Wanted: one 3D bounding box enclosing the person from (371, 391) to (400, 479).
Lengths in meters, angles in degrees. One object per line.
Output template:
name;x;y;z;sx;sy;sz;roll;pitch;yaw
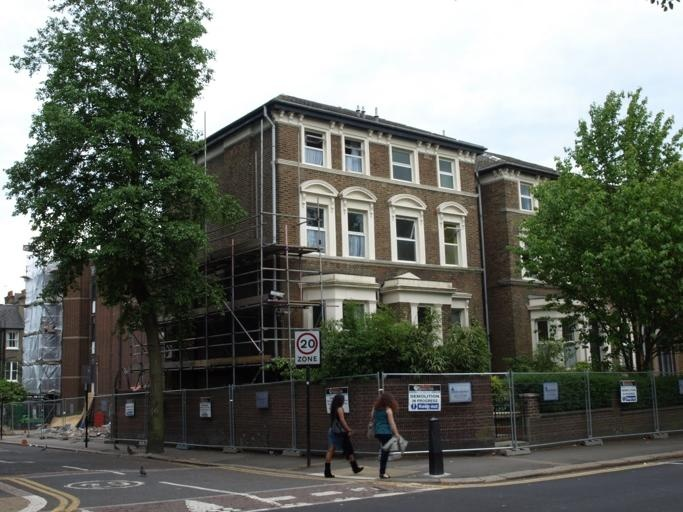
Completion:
person;1.214;4.767;20.831;0.722;2.216;1.066;-5;-6;1

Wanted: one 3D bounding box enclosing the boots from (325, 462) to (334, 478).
boots;-0.337;5.809;21.298;0.255;0.399;0.537;-5;-6;-2

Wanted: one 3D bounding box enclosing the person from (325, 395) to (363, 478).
person;-0.002;4.900;21.589;1.045;2.219;1.173;-5;-6;0

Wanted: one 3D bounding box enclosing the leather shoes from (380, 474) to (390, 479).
leather shoes;1.160;5.793;20.489;0.240;0.086;0.093;-18;-18;39
